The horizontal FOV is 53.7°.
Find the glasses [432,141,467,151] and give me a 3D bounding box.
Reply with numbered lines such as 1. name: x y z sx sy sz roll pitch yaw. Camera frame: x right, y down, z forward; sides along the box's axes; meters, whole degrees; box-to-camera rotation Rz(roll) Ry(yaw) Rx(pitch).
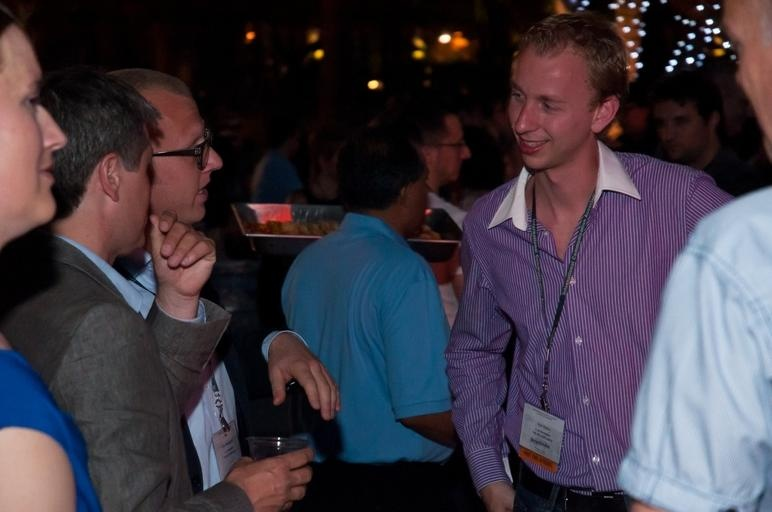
1. glasses: 0.382 -0.622 4.297 0.055 0.041 0.273 17 21 40
